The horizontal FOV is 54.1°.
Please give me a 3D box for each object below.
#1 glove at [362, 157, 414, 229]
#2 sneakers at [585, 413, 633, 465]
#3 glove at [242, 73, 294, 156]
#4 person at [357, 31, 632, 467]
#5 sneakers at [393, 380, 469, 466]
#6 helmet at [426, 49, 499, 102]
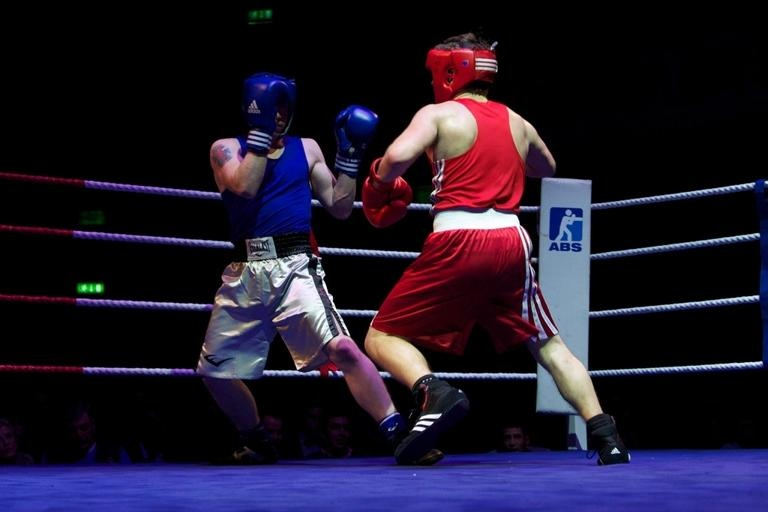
[{"bbox_3d":[-0.038,-0.289,3.486,0.252,0.295,0.147,-31,31,-22],"label":"glove"},{"bbox_3d":[0.960,0.786,3.220,0.163,0.215,0.230,-21,-19,-7],"label":"sneakers"},{"bbox_3d":[-0.505,-0.633,3.373,0.251,0.361,0.171,-3,8,-25],"label":"glove"},{"bbox_3d":[0.421,-0.087,3.275,1.028,1.829,0.733,0,7,-3],"label":"person"},{"bbox_3d":[0.196,0.679,3.109,0.294,0.347,0.153,0,7,1],"label":"sneakers"},{"bbox_3d":[0.345,-0.840,3.509,0.313,0.198,0.247,10,10,35],"label":"helmet"}]
